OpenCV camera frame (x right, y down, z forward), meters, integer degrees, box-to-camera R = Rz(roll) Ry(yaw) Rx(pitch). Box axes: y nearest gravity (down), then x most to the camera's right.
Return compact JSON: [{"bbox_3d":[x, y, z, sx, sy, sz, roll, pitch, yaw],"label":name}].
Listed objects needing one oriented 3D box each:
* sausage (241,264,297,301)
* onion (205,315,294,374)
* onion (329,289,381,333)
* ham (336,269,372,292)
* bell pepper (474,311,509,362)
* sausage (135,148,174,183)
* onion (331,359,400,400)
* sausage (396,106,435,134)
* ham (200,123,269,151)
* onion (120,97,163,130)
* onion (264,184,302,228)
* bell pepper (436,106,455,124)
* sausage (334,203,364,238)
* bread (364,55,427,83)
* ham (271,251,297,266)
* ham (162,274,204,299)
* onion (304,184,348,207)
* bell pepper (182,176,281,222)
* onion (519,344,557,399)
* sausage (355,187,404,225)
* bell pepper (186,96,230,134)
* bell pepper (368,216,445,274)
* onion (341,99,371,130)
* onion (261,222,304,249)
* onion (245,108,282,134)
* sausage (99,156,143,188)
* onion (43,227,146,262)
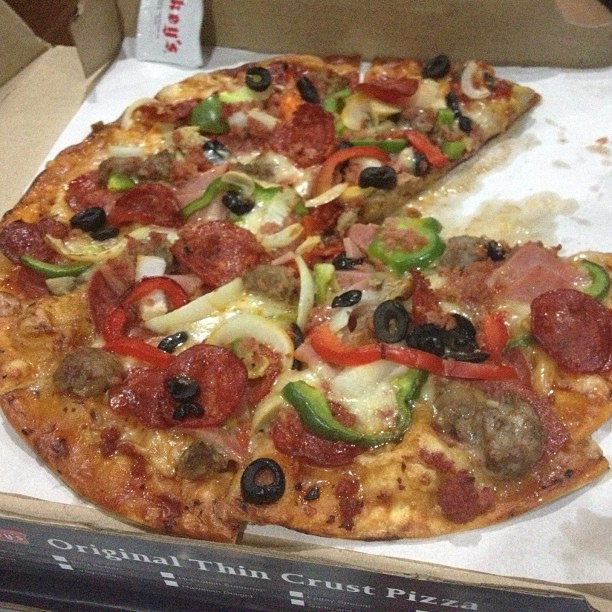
[{"bbox_3d":[-0.189,-0.115,3.533,0.263,0.118,0.171,-1,56,6],"label":"sausage"},{"bbox_3d":[-0.206,0.160,3.267,0.408,0.103,0.221,22,60,21],"label":"onion"},{"bbox_3d":[0.259,0.035,3.432,0.304,0.063,0.139,-33,54,-8],"label":"onion"},{"bbox_3d":[0.245,-0.121,3.590,0.142,0.040,0.118,-22,49,7],"label":"ham"},{"bbox_3d":[0.835,0.129,3.177,0.185,0.050,0.192,12,72,7],"label":"bell pepper"},{"bbox_3d":[-0.839,-0.818,4.043,0.218,0.064,0.183,23,59,21],"label":"sausage"},{"bbox_3d":[0.266,0.321,3.092,0.259,0.057,0.194,-14,50,-6],"label":"onion"},{"bbox_3d":[0.677,-1.117,4.306,0.237,0.075,0.172,26,86,10],"label":"sausage"},{"bbox_3d":[-0.431,-0.990,4.254,0.270,0.072,0.250,-35,58,-16],"label":"ham"},{"bbox_3d":[-1.058,-1.214,4.450,0.309,0.087,0.139,-36,59,-20],"label":"onion"},{"bbox_3d":[-0.127,-0.542,3.851,0.188,0.080,0.230,33,65,-18],"label":"onion"},{"bbox_3d":[0.835,-1.139,4.234,0.116,0.073,0.079,3,90,14],"label":"bell pepper"},{"bbox_3d":[0.225,-0.465,3.926,0.162,0.065,0.192,26,61,-5],"label":"sausage"},{"bbox_3d":[0.608,-1.556,4.663,0.415,0.089,0.297,3,41,15],"label":"bread"},{"bbox_3d":[-0.113,-0.243,3.670,0.169,0.050,0.035,-23,103,-15],"label":"ham"},{"bbox_3d":[-0.591,-0.116,3.554,0.169,0.043,0.145,24,42,12],"label":"ham"},{"bbox_3d":[0.123,-0.600,3.866,0.268,0.064,0.080,-24,57,-12],"label":"onion"},{"bbox_3d":[-0.463,-0.598,3.925,0.636,0.140,0.172,-12,86,-2],"label":"bell pepper"},{"bbox_3d":[1.024,0.272,3.068,0.195,0.057,0.200,-7,78,7],"label":"onion"},{"bbox_3d":[0.397,-0.557,3.976,0.201,0.259,0.079,30,34,-28],"label":"sausage"},{"bbox_3d":[-0.597,-1.169,4.382,0.297,0.081,0.197,6,85,6],"label":"bell pepper"},{"bbox_3d":[0.529,-0.324,3.650,0.335,0.083,0.408,30,61,25],"label":"bell pepper"},{"bbox_3d":[0.301,-1.160,4.330,0.205,0.072,0.184,18,91,-5],"label":"onion"},{"bbox_3d":[-0.065,-0.359,3.733,0.329,0.101,0.073,-15,72,-6],"label":"onion"},{"bbox_3d":[-0.246,-1.136,4.286,0.220,0.045,0.135,31,43,8],"label":"onion"},{"bbox_3d":[-1.085,-0.765,4.119,0.277,0.084,0.156,-17,56,3],"label":"sausage"},{"bbox_3d":[-1.143,-0.302,3.694,0.323,0.061,0.197,-8,26,6],"label":"onion"}]
